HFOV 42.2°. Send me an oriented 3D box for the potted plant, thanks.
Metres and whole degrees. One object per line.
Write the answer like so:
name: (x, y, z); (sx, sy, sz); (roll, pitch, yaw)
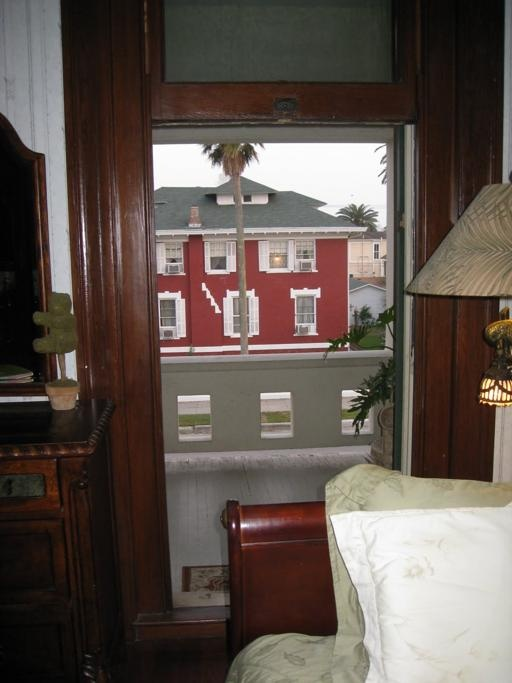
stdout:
potted plant: (-0.568, 0.029, 1.886); (0.116, 0.332, 0.118); (-3, 3, -12)
